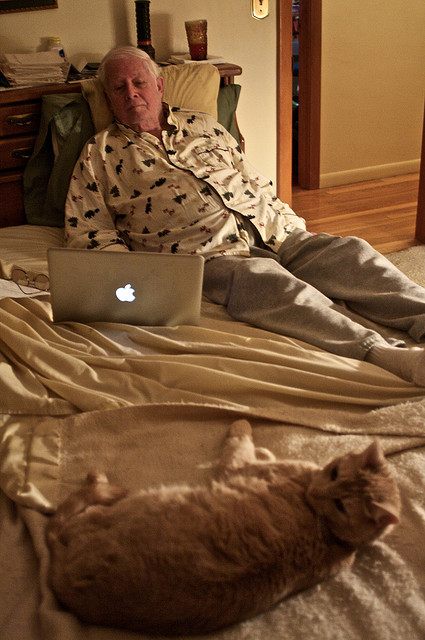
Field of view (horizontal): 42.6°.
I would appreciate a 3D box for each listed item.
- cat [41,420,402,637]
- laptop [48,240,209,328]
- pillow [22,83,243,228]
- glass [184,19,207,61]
[{"bbox_3d":[0.020,0.305,0.814,0.421,0.139,0.308,-21,47,-21],"label":"cat"},{"bbox_3d":[-0.241,-0.155,1.652,0.454,0.270,0.310,7,37,1],"label":"laptop"},{"bbox_3d":[-0.401,-0.679,2.566,0.822,0.809,0.325,-6,-16,-7],"label":"pillow"},{"bbox_3d":[-0.064,-1.391,2.719,0.130,0.184,0.127,5,27,14],"label":"glass"}]
